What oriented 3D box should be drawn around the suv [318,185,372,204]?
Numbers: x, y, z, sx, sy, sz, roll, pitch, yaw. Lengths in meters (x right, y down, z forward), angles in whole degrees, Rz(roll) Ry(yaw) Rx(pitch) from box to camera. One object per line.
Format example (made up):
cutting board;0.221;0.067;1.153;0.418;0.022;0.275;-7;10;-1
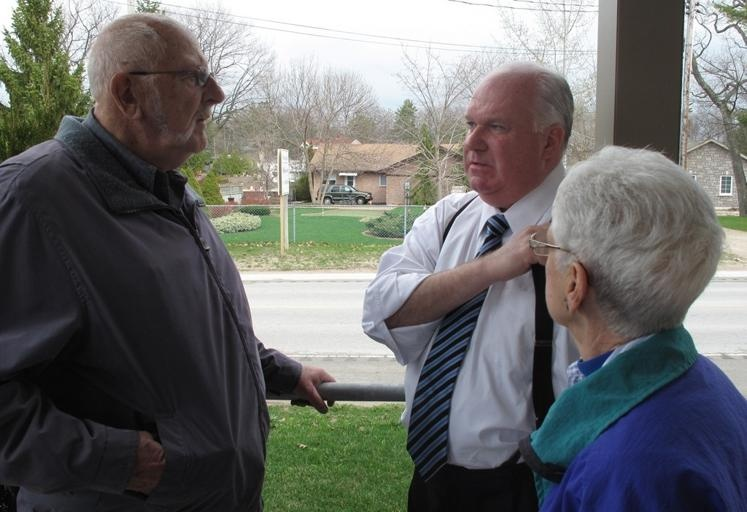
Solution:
suv;-1.157;-2.730;34.801;1.908;0.838;0.905;-1;9;2
